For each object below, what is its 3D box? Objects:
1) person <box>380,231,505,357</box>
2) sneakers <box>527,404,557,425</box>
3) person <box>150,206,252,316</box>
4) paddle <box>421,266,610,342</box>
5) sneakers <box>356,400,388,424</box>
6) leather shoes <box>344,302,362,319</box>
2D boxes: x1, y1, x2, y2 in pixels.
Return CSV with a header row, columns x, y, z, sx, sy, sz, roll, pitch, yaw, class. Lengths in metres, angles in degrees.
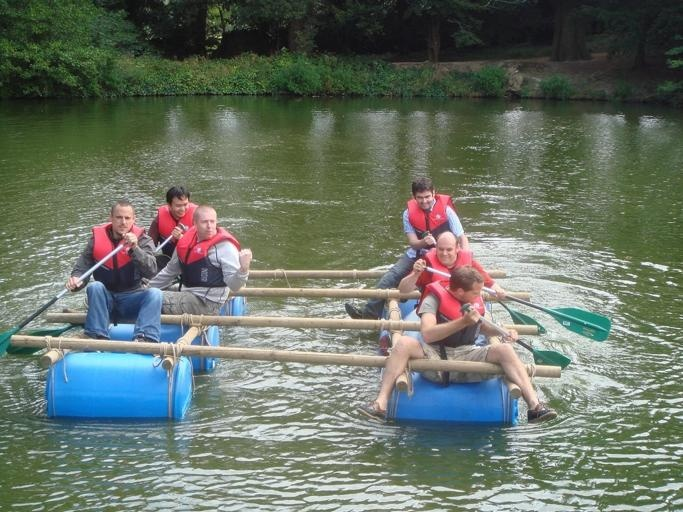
x,y,z,sx,sy,sz,roll,pitch,yaw,class
1.429,0.722,10.256,1.290,2.122,0.617,-3,26,13,person
2.137,1.719,9.180,0.349,0.130,0.140,-11,6,15,sneakers
-1.760,0.119,10.498,1.365,1.084,0.837,34,25,33,person
2.128,0.536,10.406,2.194,0.340,0.106,21,27,36,paddle
0.340,1.729,9.357,0.332,0.127,0.160,18,-22,13,sneakers
0.140,0.734,11.178,0.111,0.256,0.130,-25,38,37,leather shoes
